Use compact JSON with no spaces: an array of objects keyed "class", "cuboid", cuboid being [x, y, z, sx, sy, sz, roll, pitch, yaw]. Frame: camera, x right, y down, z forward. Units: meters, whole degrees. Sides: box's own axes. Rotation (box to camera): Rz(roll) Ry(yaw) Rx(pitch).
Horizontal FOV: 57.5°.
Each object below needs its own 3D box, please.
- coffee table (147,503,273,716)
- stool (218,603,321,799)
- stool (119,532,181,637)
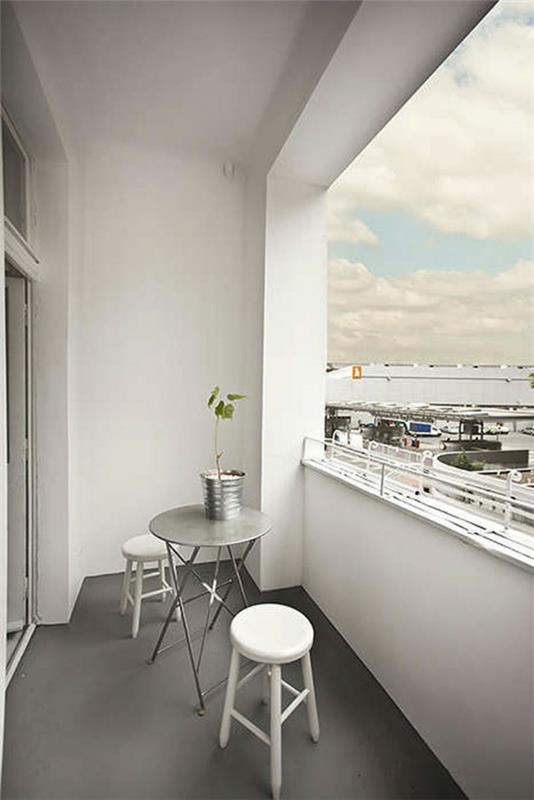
[{"class":"coffee table","cuboid":[-0.268,0.906,2.206,0.448,0.741,0.472,-5,10,-41]},{"class":"stool","cuboid":[0.002,1.005,1.754,0.364,0.479,0.539,-1,1,2]},{"class":"stool","cuboid":[-0.550,1.025,2.601,0.260,0.524,0.301,-9,-5,-14]}]
